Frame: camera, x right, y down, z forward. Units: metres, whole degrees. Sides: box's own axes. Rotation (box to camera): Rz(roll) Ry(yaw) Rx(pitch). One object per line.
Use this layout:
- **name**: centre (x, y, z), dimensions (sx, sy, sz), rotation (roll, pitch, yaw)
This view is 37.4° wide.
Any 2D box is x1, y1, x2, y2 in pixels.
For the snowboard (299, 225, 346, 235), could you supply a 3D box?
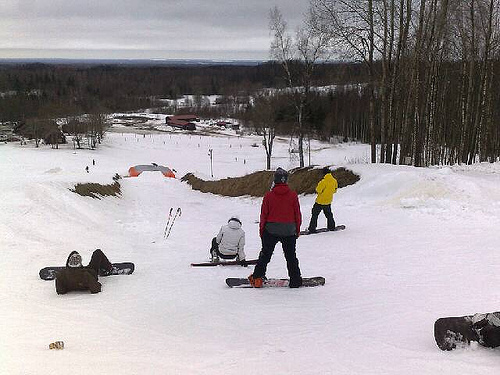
- **snowboard**: centre (3.411, 1.982, 34.642), dimensions (2.669, 0.317, 0.288), rotation (-7, -18, 17)

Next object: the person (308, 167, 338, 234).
- **person**: centre (3.333, 0.605, 34.168), dimensions (1.027, 3.134, 1.285), rotation (-8, 8, -16)

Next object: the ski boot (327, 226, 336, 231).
- **ski boot**: centre (3.781, 1.906, 34.629), dimensions (0.213, 0.177, 0.220), rotation (1, -1, -11)

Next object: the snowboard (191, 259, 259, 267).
- **snowboard**: centre (-0.983, 3.230, 31.781), dimensions (2.658, 0.324, 0.407), rotation (1, 2, 10)

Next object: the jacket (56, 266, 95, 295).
- **jacket**: centre (-6.915, 3.659, 29.448), dimensions (1.318, 1.060, 1.046), rotation (0, 6, -4)

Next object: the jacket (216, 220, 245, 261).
- **jacket**: centre (-0.722, 2.061, 31.821), dimensions (1.308, 2.041, 1.302), rotation (4, 18, 4)
